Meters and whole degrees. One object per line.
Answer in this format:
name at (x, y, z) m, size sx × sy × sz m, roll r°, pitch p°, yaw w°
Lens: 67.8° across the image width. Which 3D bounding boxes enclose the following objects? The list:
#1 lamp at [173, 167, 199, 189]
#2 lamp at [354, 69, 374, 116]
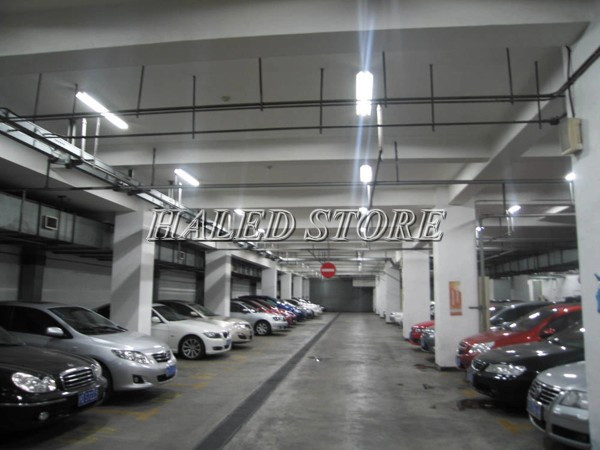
lamp at (-2.831, -1.173, 11.356) m, size 0.546 × 0.400 × 1.852 m, roll 2°, pitch -8°, yaw -12°
lamp at (0.882, -1.813, 6.081) m, size 0.220 × 0.605 × 0.453 m, roll 0°, pitch -8°, yaw 7°
